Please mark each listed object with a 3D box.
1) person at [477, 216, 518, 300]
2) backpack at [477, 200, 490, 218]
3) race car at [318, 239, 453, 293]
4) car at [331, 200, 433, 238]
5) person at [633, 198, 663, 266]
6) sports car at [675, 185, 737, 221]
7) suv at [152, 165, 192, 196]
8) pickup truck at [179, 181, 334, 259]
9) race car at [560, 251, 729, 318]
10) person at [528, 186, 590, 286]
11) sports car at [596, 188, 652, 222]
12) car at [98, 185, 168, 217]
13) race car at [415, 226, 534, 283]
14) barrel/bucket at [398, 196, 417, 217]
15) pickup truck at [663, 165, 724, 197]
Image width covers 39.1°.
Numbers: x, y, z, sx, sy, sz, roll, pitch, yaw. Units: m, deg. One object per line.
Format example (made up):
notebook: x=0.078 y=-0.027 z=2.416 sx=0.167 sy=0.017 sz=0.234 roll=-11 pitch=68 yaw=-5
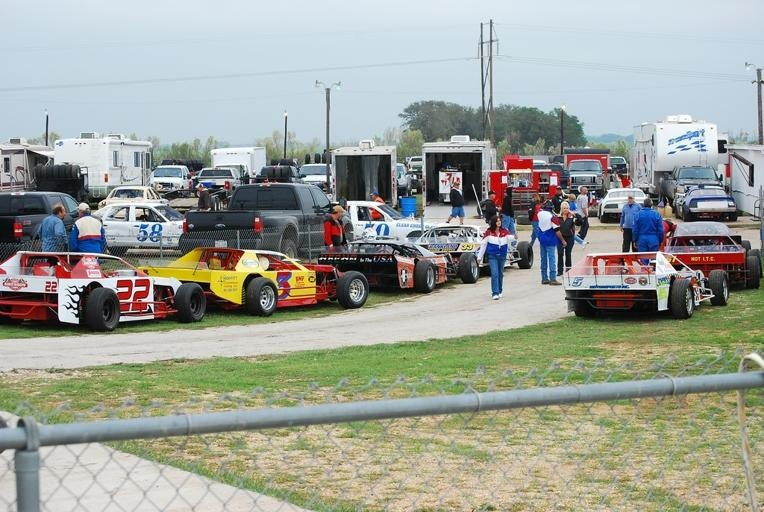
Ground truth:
person: x=2.574 y=-0.004 z=23.821 sx=0.637 sy=1.918 sz=0.841 roll=0 pitch=0 yaw=-6
backpack: x=3.517 y=-1.640 z=37.224 sx=0.300 sy=0.814 sz=0.578 roll=14 pitch=0 yaw=-11
race car: x=0.022 y=0.209 z=25.044 sx=4.306 sy=1.599 sz=1.899 roll=-2 pitch=-2 yaw=21
car: x=-0.012 y=-1.173 z=30.456 sx=3.635 sy=1.323 sz=1.616 roll=-1 pitch=-1 yaw=7
person: x=6.052 y=-0.601 z=23.795 sx=0.743 sy=1.959 sz=0.830 roll=-1 pitch=-1 yaw=1
sports car: x=11.524 y=-1.811 z=38.030 sx=1.872 sy=1.233 sz=1.993 roll=-1 pitch=5 yaw=17
suv: x=-9.571 y=-3.407 z=48.286 sx=1.369 sy=1.193 sz=2.429 roll=0 pitch=-2 yaw=0
pickup truck: x=-2.820 y=-0.753 z=27.450 sx=2.471 sy=2.157 sz=5.579 roll=1 pitch=4 yaw=19
race car: x=5.520 y=0.496 z=21.998 sx=2.326 sy=1.383 sz=4.166 roll=-1 pitch=3 yaw=35
person: x=4.151 y=-0.419 z=25.607 sx=0.928 sy=2.162 sz=1.083 roll=-1 pitch=1 yaw=24
sports car: x=8.901 y=-1.929 z=40.256 sx=1.539 sy=1.114 sz=3.547 roll=-2 pitch=7 yaw=4
car: x=-8.769 y=-2.131 z=37.306 sx=1.333 sy=0.871 sz=2.531 roll=1 pitch=10 yaw=9
race car: x=2.422 y=-0.193 z=28.661 sx=2.018 sy=1.277 sz=3.849 roll=2 pitch=9 yaw=39
barrel/bucket: x=0.805 y=-1.802 z=39.219 sx=0.832 sy=0.922 sz=0.865 roll=0 pitch=2 yaw=0
pickup truck: x=12.200 y=-2.713 z=42.023 sx=1.937 sy=1.644 sz=3.962 roll=-3 pitch=1 yaw=-4
